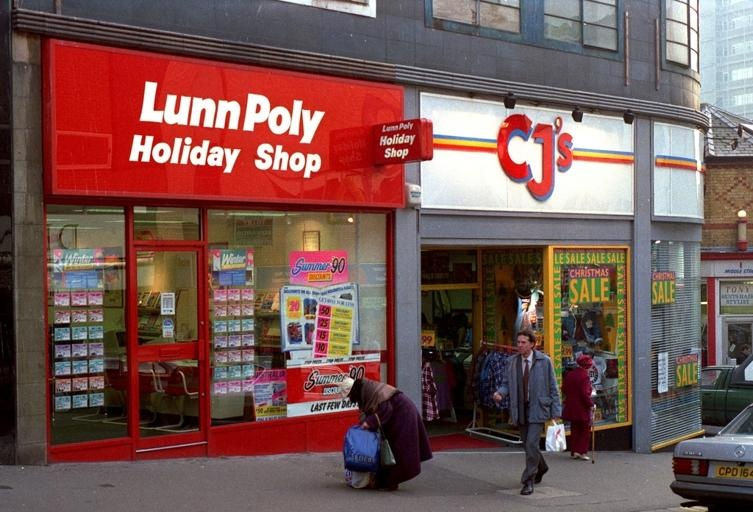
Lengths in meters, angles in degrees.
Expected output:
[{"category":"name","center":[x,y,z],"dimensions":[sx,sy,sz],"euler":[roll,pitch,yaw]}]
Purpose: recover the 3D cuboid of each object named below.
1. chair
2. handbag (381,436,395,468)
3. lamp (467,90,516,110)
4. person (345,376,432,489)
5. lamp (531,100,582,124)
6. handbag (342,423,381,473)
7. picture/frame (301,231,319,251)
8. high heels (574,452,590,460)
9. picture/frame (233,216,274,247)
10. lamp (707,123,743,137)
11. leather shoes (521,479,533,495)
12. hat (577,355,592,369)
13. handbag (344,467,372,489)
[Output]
[{"category":"chair","center":[-3.701,2.104,11.964],"dimensions":[1.129,0.763,0.401],"euler":[2,-7,-35]},{"category":"handbag","center":[0.153,2.760,11.171],"dimensions":[0.133,0.388,0.379],"euler":[-11,-7,-4]},{"category":"lamp","center":[2.255,-2.895,14.993],"dimensions":[0.722,0.307,0.400],"euler":[4,0,-11]},{"category":"person","center":[0.145,2.572,11.652],"dimensions":[1.321,1.533,0.994],"euler":[2,-11,-13]},{"category":"lamp","center":[3.655,-2.866,15.734],"dimensions":[1.313,0.393,0.176],"euler":[4,2,-29]},{"category":"handbag","center":[-0.184,2.696,11.153],"dimensions":[0.666,0.742,0.371],"euler":[1,-8,-8]},{"category":"picture/frame","center":[-1.126,-0.265,13.392],"dimensions":[0.295,0.400,0.036],"euler":[-3,3,-9]},{"category":"high heels","center":[3.757,3.679,14.684],"dimensions":[0.341,0.181,0.116],"euler":[-1,-2,4]},{"category":"picture/frame","center":[-1.980,-0.418,12.926],"dimensions":[0.765,0.570,0.418],"euler":[2,-7,-29]},{"category":"lamp","center":[12.544,-4.512,28.539],"dimensions":[1.073,0.488,1.003],"euler":[7,3,20]},{"category":"leather shoes","center":[2.193,3.382,11.620],"dimensions":[0.099,0.128,0.288],"euler":[-2,-9,18]},{"category":"hat","center":[3.851,1.942,14.721],"dimensions":[0.213,0.221,0.247],"euler":[4,7,25]},{"category":"handbag","center":[-0.291,3.162,11.376],"dimensions":[0.369,0.397,0.234],"euler":[-4,-9,25]}]
